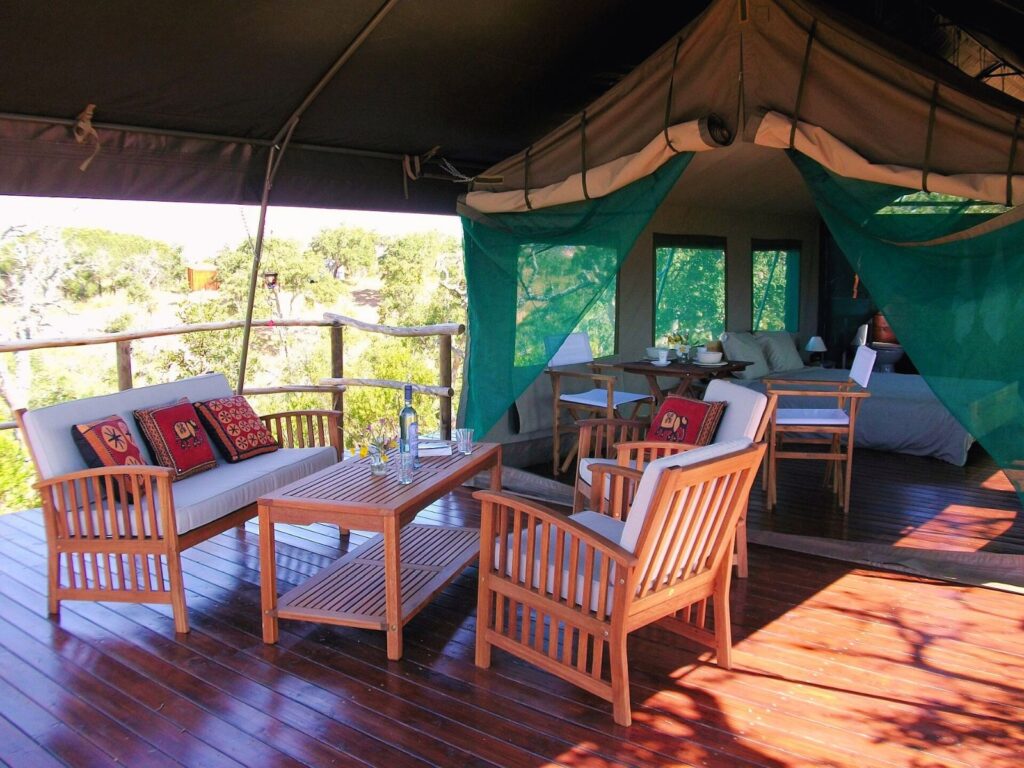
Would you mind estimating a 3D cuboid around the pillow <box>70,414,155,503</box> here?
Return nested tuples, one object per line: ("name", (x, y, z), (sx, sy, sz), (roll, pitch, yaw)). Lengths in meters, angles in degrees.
("pillow", (-2.127, 0.314, 3.980), (0.089, 0.334, 0.289), (-40, 1, 30))

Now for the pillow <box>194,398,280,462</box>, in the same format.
("pillow", (-1.721, 0.268, 4.692), (0.452, 0.365, 0.544), (1, 4, 23))

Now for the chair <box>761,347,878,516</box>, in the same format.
("chair", (2.363, 0.236, 5.816), (0.737, 1.064, 2.218), (2, 8, 23))

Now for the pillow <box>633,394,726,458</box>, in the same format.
("pillow", (0.978, 0.247, 4.330), (0.330, 0.284, 0.387), (-3, 9, -44))

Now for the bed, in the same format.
("bed", (3.092, 0.076, 7.395), (3.167, 1.033, 1.905), (1, 8, -10))

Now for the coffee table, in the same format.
("coffee table", (-0.653, 0.836, 4.086), (0.812, 0.619, 1.442), (1, 4, 15))

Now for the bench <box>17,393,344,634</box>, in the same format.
("bench", (-1.808, 0.604, 4.221), (1.210, 1.068, 2.092), (2, 6, 13))

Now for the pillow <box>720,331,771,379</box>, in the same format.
("pillow", (2.263, -0.244, 7.573), (0.539, 0.468, 0.157), (-1, -25, -39))

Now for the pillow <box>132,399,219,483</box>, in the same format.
("pillow", (-1.929, 0.319, 4.296), (0.152, 0.431, 0.499), (-27, 3, 23))
